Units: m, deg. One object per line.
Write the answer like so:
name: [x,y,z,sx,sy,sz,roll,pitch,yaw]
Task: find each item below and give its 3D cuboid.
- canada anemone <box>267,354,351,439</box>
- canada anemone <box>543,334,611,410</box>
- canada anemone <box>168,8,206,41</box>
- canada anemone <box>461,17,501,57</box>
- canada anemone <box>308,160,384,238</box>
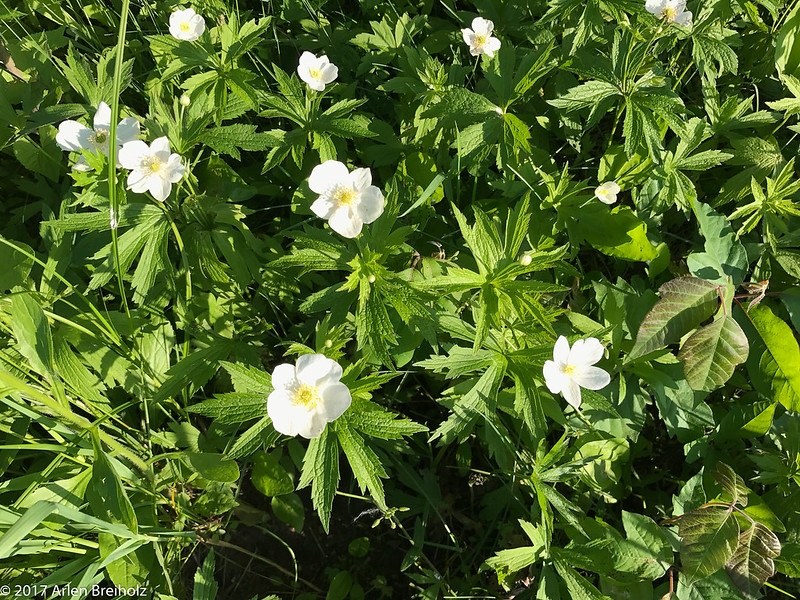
canada anemone: [-0.433,0.445,2.801,0.372,0.122,0.358,-19,78,-13]
canada anemone: [0.855,0.332,3.016,0.340,0.113,0.374,-20,95,-17]
canada anemone: [-1.230,-1.575,3.511,0.179,0.120,0.276,-6,76,-10]
canada anemone: [0.489,-1.586,3.712,0.248,0.098,0.270,-12,78,-22]
canada anemone: [-0.244,-0.469,3.193,0.383,0.150,0.387,44,92,16]
